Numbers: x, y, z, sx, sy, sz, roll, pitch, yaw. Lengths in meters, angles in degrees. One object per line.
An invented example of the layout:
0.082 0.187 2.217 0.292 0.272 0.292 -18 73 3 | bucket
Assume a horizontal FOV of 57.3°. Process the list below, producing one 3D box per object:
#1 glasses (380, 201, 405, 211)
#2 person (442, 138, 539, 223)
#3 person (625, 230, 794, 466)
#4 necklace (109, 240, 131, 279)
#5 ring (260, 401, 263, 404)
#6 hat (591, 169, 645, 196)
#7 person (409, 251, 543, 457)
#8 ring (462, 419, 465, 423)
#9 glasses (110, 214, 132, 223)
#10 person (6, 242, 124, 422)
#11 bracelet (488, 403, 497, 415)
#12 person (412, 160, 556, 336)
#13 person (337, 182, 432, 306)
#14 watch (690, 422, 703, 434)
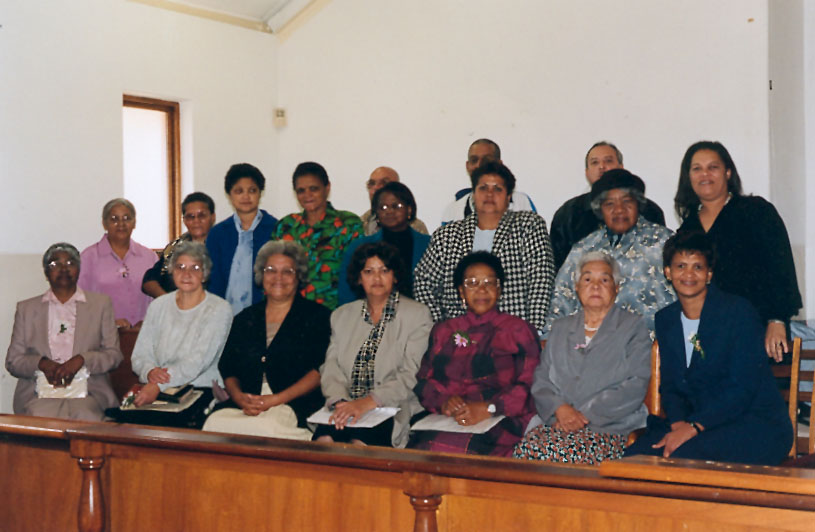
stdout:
-0.100 -0.404 4.961 0.147 0.059 0.033 1 -4 -10 | glasses
0.638 -0.634 5.455 0.789 0.668 0.422 -4 -15 19 | person
1.559 0.400 3.846 0.745 1.192 0.341 -1 -4 24 | person
-2.127 -0.033 5.542 0.055 0.209 0.164 -28 19 -38 | necklace
-0.834 0.778 4.254 0.019 0.016 0.005 1 -5 -4 | ring
1.301 -0.524 4.635 0.308 0.092 0.325 -1 3 16 | hat
0.370 0.491 4.251 0.828 1.070 0.844 -8 5 -34 | person
0.305 0.847 4.064 0.020 0.017 0.005 -5 -15 10 | ring
-2.111 -0.356 5.501 0.136 0.051 0.031 2 -4 -27 | glasses
-2.220 0.393 4.753 0.733 1.108 0.343 0 -4 5 | person
0.461 0.784 4.106 0.054 0.056 0.036 1 -4 -9 | bracelet
0.488 0.195 4.691 0.909 1.681 0.550 0 -2 16 | person
-0.062 -0.034 5.084 0.685 1.043 0.339 -6 7 0 | person
1.466 0.820 3.783 0.034 0.057 0.027 -51 -22 26 | watch
